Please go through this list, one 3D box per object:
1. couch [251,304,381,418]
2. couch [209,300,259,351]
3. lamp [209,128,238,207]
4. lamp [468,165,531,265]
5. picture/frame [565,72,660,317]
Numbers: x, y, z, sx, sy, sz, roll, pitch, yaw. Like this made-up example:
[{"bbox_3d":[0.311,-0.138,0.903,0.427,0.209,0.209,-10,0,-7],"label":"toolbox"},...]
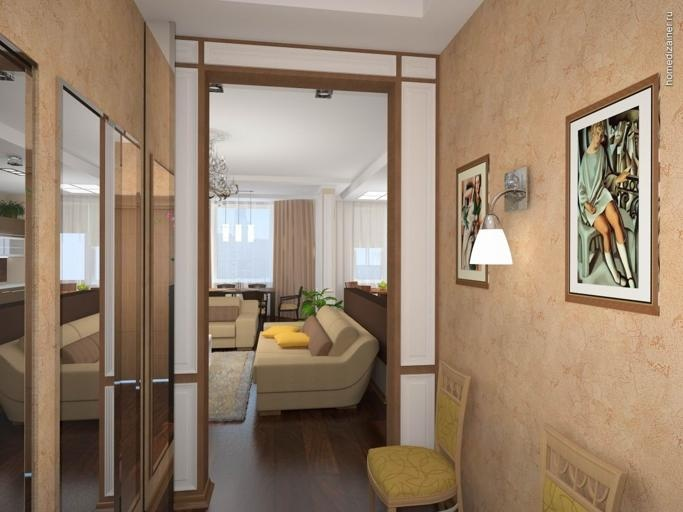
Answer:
[{"bbox_3d":[-0.283,0.999,5.009,1.149,0.729,1.000,0,6,-10],"label":"couch"},{"bbox_3d":[-1.546,0.924,7.198,0.649,0.565,0.669,0,-4,-1],"label":"couch"},{"bbox_3d":[-1.426,-1.051,6.058,0.267,0.730,1.178,0,6,-14],"label":"lamp"},{"bbox_3d":[0.793,-0.180,2.547,0.235,0.506,0.453,4,6,25],"label":"lamp"},{"bbox_3d":[1.096,-0.248,2.093,0.087,0.913,0.471,-1,6,-18],"label":"picture/frame"}]
